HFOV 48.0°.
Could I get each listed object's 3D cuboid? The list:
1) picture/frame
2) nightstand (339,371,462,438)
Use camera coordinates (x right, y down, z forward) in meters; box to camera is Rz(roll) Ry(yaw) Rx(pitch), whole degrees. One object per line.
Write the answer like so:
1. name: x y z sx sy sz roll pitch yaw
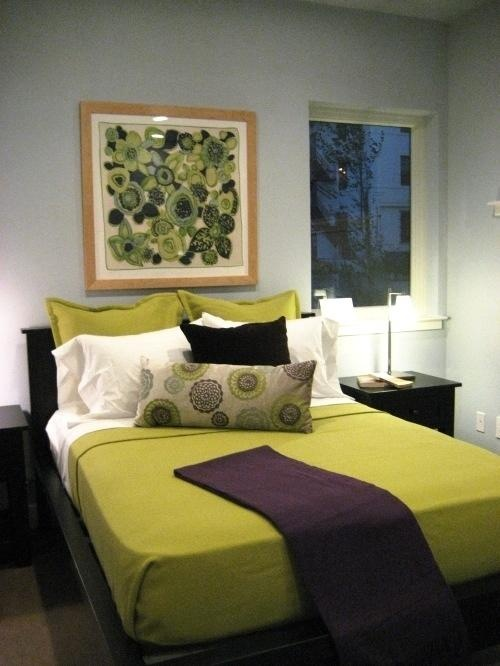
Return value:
1. picture/frame: -0.460 -0.728 2.897 1.118 0.987 0.036 -3 5 -21
2. nightstand: 0.817 0.347 3.132 0.483 0.544 0.381 -8 14 -29
